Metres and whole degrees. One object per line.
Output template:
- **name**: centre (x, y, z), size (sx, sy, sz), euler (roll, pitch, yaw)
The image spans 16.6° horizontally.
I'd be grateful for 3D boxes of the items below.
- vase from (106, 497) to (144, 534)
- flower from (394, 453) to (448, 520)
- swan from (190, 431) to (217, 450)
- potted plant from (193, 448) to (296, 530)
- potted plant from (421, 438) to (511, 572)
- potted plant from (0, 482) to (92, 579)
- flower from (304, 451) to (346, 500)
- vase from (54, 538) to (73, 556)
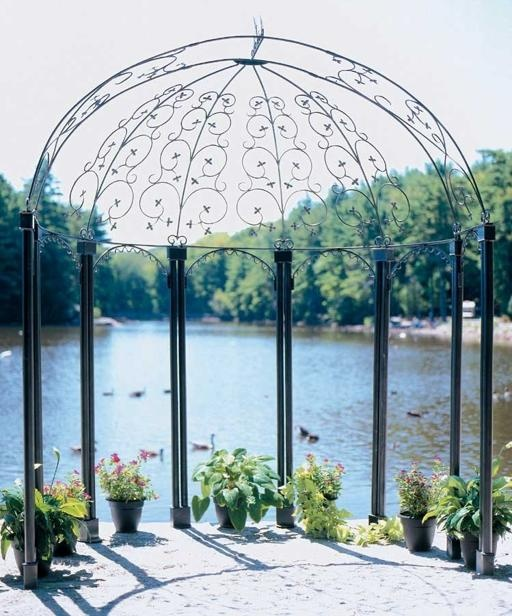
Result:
- **vase**: centre (-1.707, 2.719, 22.855), size (0.421, 0.350, 0.444), euler (0, -23, -1)
- **flower**: centre (2.113, 2.273, 22.756), size (0.626, 0.996, 0.848), euler (-2, -3, 2)
- **swan**: centre (-0.958, 2.484, 31.820), size (0.558, 0.535, 0.209), euler (1, -4, 2)
- **potted plant**: centre (-0.271, 2.322, 23.139), size (1.023, 0.760, 1.073), euler (5, 6, -4)
- **potted plant**: centre (2.644, 2.605, 21.944), size (1.077, 1.355, 0.747), euler (-3, -6, 5)
- **potted plant**: centre (-2.655, 2.751, 21.656), size (1.007, 0.786, 1.047), euler (-5, -7, 33)
- **flower**: centre (0.870, 2.223, 23.092), size (0.457, 0.636, 0.373), euler (-5, -2, -11)
- **vase**: centre (-2.396, 3.019, 22.062), size (0.216, 0.228, 0.226), euler (-5, -8, 22)
